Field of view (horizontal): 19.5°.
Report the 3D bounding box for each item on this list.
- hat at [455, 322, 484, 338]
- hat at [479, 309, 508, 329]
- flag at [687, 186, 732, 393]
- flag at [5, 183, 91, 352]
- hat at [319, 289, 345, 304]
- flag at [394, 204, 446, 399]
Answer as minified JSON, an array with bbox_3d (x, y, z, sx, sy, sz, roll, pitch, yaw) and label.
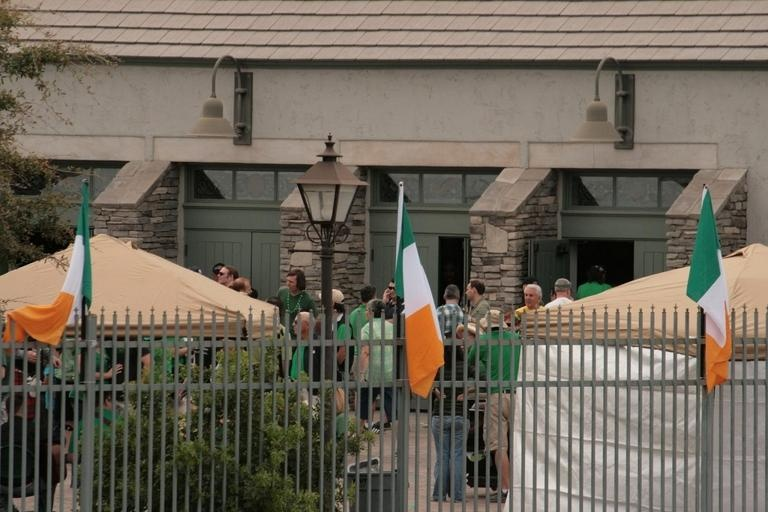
[{"bbox_3d":[1.171,1.044,30.345,0.309,0.115,0.308,5,-3,-25],"label":"hat"},{"bbox_3d":[1.497,0.897,30.095,0.347,0.157,0.395,2,-2,-2],"label":"hat"},{"bbox_3d":[4.266,0.489,29.066,0.526,2.625,0.327,1,-4,-34],"label":"flag"},{"bbox_3d":[-4.293,0.118,28.703,1.010,2.128,0.538,-1,-4,-4],"label":"flag"},{"bbox_3d":[-0.834,0.699,34.367,0.370,0.151,0.239,20,19,10],"label":"hat"},{"bbox_3d":[0.465,0.615,28.884,0.598,2.473,0.271,-1,-4,1],"label":"flag"}]
